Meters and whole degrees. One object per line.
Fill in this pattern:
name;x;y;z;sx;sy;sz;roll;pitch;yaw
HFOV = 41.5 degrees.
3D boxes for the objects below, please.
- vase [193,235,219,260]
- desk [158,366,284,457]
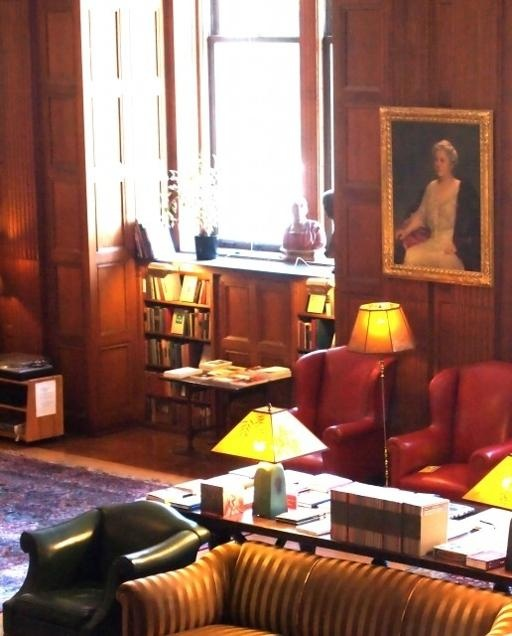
vase;-0.535;-0.757;7.157;0.212;0.272;0.232;0;8;9
desk;-0.244;0.750;6.589;0.957;0.837;0.833;8;14;38
